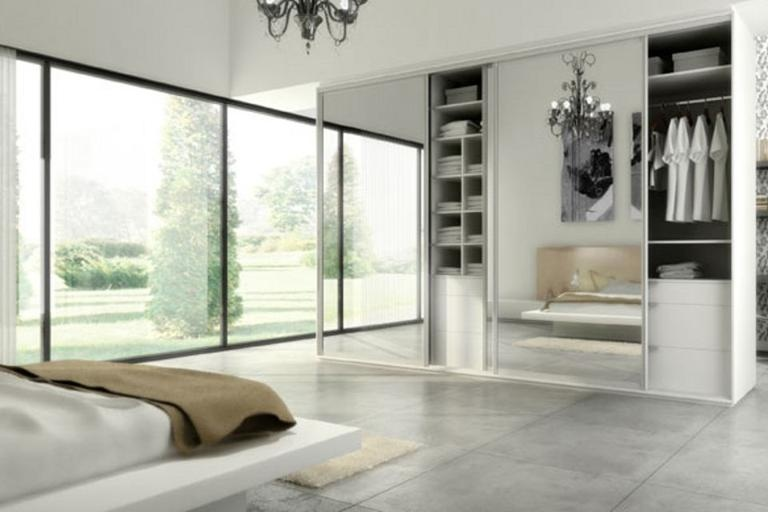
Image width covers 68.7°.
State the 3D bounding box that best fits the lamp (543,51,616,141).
[{"bbox_3d":[1.800,-1.461,5.422,0.693,0.899,0.705,1,3,38],"label":"lamp"}]

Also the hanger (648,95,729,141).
[{"bbox_3d":[2.741,-1.257,5.065,0.646,0.378,0.361,1,4,27],"label":"hanger"}]
